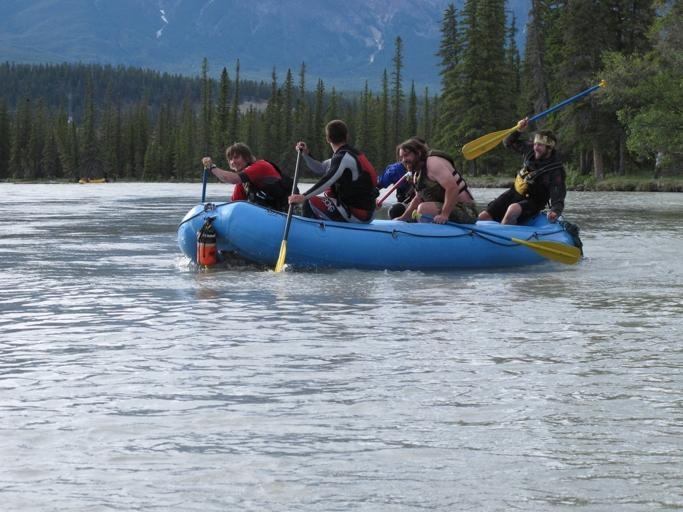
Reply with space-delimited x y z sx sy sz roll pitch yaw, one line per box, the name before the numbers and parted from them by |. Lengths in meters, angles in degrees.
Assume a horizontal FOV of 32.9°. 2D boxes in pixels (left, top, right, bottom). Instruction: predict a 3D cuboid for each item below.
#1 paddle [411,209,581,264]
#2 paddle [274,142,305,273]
paddle | 2.243 -0.286 17.413 2.926 0.307 0.257 9 -41 0
paddle | -0.780 -0.836 16.805 0.289 2.043 0.198 12 -12 2
